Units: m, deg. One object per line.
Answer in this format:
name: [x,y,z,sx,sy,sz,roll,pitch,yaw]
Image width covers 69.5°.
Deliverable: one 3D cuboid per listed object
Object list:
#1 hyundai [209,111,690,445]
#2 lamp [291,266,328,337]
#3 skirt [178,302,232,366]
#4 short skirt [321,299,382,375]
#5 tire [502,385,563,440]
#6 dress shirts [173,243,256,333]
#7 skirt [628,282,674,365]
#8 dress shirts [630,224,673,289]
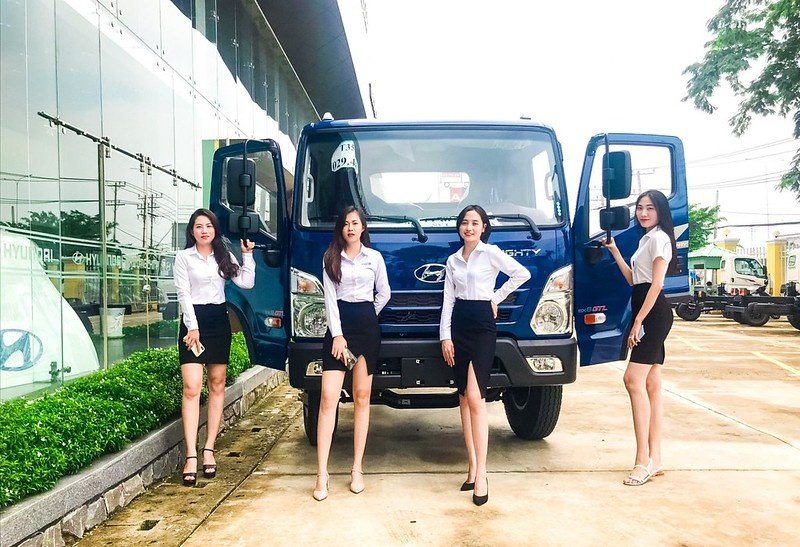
hyundai: [0.457,0.121,7.673,3.635,2.293,3.762,0,-7,-2]
lamp: [-0.932,0.294,5.886,0.433,0.634,0.189,2,3,17]
skirt: [-2.104,0.567,6.159,0.595,0.424,0.853,1,45,-25]
short skirt: [-0.450,0.687,5.730,0.645,0.885,0.450,-6,20,-5]
tire: [1.595,1.665,6.958,0.327,0.943,0.864,1,-4,-29]
dress shirts: [-1.962,0.150,6.133,0.900,1.094,0.542,3,-12,-39]
skirt: [2.531,0.515,5.826,0.394,0.826,0.291,0,1,21]
dress shirts: [2.577,-0.097,6.046,0.450,0.772,0.790,2,-5,10]
